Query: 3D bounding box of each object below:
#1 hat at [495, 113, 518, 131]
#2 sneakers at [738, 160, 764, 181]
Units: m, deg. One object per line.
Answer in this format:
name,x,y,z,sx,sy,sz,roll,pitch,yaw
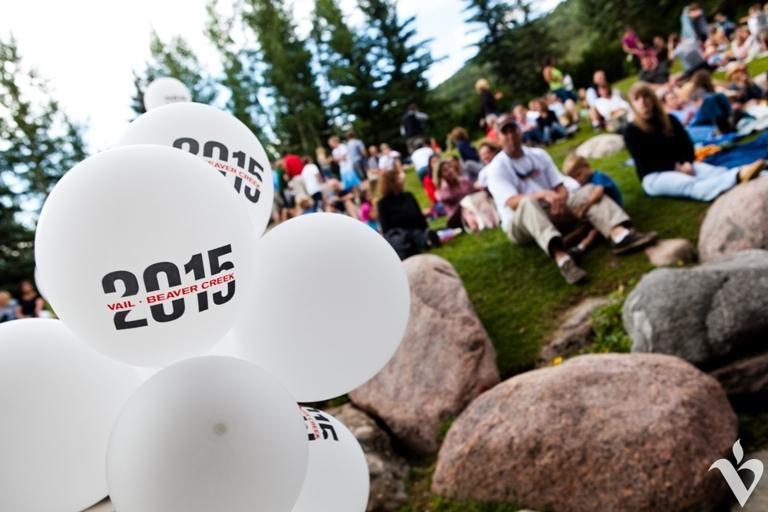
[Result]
hat,1.272,-1.392,8.574,0.205,0.166,0.186,-26,6,11
sneakers,3.474,-0.813,7.747,0.230,0.093,0.140,-41,23,24
